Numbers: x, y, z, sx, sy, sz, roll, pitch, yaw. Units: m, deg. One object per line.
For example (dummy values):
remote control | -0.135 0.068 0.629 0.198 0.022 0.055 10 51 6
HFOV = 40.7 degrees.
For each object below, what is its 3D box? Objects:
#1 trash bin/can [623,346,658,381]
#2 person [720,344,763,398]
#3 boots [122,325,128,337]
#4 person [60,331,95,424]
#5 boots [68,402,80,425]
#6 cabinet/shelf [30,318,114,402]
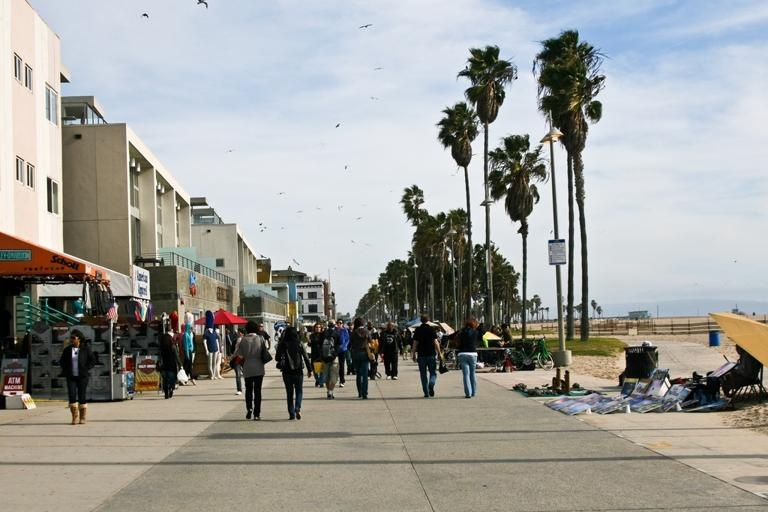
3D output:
trash bin/can | 7.750 3.242 31.167 0.942 1.108 1.679 0 4 12
person | 9.999 3.208 28.841 1.168 1.466 1.040 0 4 11
boots | -8.954 2.597 35.634 0.315 0.326 0.572 2 -8 -10
person | -8.413 3.274 28.291 0.819 2.542 0.874 -2 -1 -10
boots | -8.340 4.284 28.036 0.445 0.585 0.494 3 -13 -21
cabinet/shelf | -9.878 3.155 32.554 1.746 3.464 2.603 -3 -1 -14
